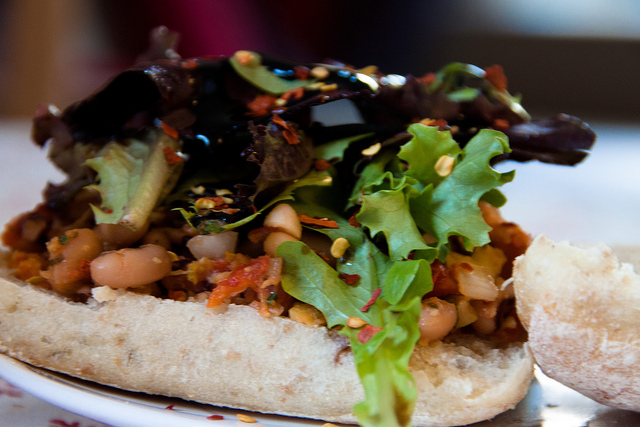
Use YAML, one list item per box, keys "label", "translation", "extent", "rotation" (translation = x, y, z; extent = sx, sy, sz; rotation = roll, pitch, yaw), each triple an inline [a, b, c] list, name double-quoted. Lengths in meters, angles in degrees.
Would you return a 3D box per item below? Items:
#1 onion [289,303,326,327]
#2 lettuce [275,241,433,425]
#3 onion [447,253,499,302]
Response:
- label: "onion"
  translation: [-0.023, 0.209, 1.242]
  extent: [0.076, 0.046, 0.014]
  rotation: [18, 98, 1]
- label: "lettuce"
  translation: [0.103, 0.225, 1.152]
  extent: [0.410, 0.121, 0.296]
  rotation: [-3, 70, -22]
- label: "onion"
  translation: [0.309, 0.142, 1.323]
  extent: [0.151, 0.034, 0.093]
  rotation: [-1, 61, -25]
